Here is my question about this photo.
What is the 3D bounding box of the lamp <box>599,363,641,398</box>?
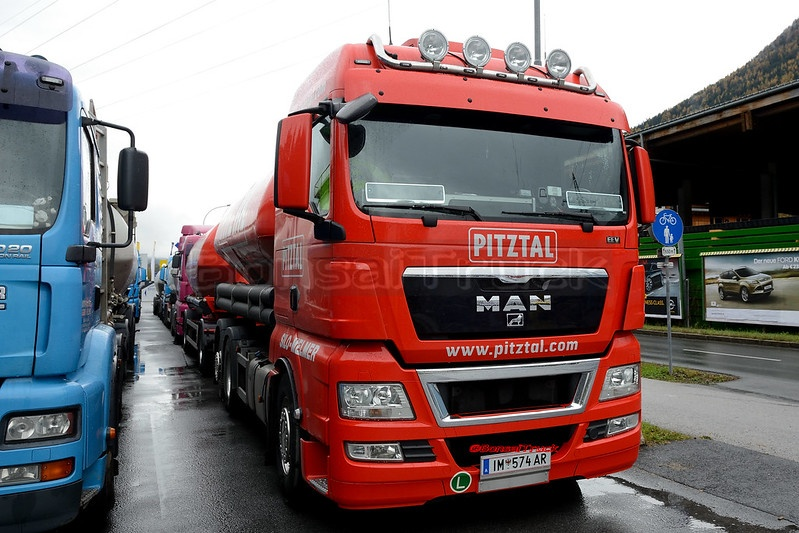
[{"bbox_3d":[2.235,1.154,5.442,0.282,0.178,0.391,1,-5,-18],"label":"lamp"}]

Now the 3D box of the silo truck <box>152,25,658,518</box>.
[{"bbox_3d":[-0.644,0.194,8.067,2.585,3.360,7.351,1,-4,-23],"label":"silo truck"}]

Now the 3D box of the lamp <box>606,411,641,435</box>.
[{"bbox_3d":[2.222,1.551,5.404,0.245,0.105,0.203,-4,-4,-26],"label":"lamp"}]

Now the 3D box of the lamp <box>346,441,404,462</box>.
[{"bbox_3d":[-0.218,1.627,4.726,0.287,0.112,0.238,2,-9,-6],"label":"lamp"}]

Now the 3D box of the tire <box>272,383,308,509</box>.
[{"bbox_3d":[-1.153,1.903,5.648,0.183,1.119,1.132,0,9,-19],"label":"tire"}]
